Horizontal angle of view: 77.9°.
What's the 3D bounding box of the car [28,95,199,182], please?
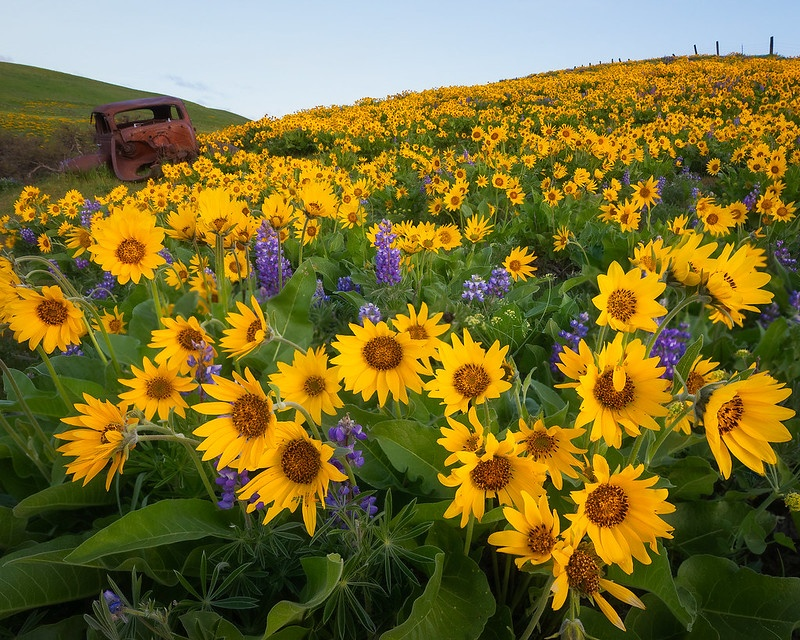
[{"bbox_3d":[-6.810,-4.507,12.305,1.497,1.825,3.469,14,31,24],"label":"car"}]
